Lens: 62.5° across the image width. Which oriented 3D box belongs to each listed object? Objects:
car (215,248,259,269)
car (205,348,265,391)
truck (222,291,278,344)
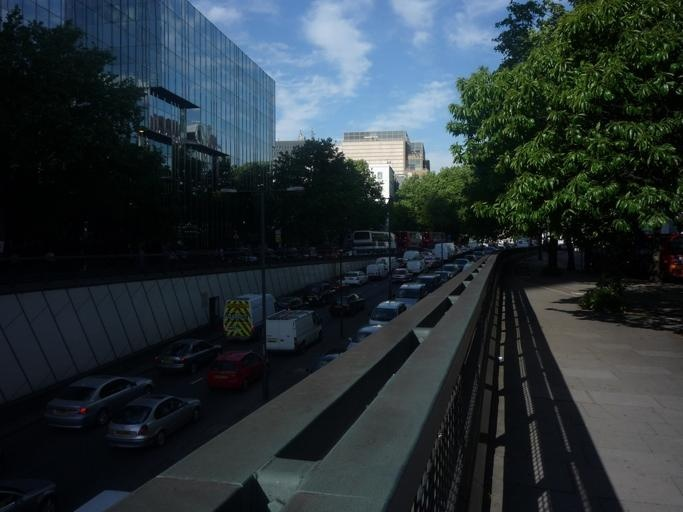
[{"bbox_3d":[-8.836,0.146,46.978,0.693,1.236,7.811,-6,-3,13],"label":"car"},{"bbox_3d":[-5.308,5.735,28.767,1.791,1.714,3.517,2,8,16],"label":"car"},{"bbox_3d":[-6.391,3.946,39.223,2.350,3.366,5.566,1,10,16],"label":"truck"}]
